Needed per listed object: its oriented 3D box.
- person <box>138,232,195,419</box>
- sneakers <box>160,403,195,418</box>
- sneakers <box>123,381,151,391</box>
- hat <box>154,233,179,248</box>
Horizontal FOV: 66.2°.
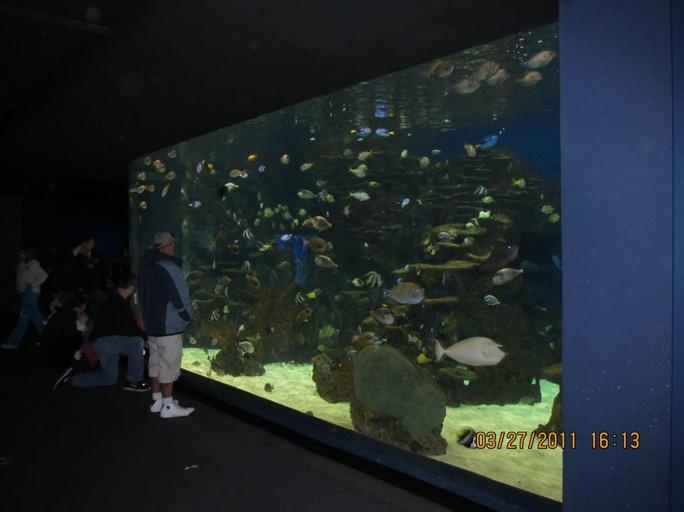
[{"bbox_3d":[-2.320,0.955,6.962,0.548,2.445,0.769,-11,19,-41],"label":"person"},{"bbox_3d":[-2.199,2.084,7.063,0.481,0.196,0.166,-1,0,-21],"label":"sneakers"},{"bbox_3d":[-3.025,1.949,7.831,0.400,0.163,0.153,0,-2,-9],"label":"sneakers"},{"bbox_3d":[-2.408,-0.205,7.056,0.200,0.134,0.259,-17,0,-43],"label":"hat"}]
